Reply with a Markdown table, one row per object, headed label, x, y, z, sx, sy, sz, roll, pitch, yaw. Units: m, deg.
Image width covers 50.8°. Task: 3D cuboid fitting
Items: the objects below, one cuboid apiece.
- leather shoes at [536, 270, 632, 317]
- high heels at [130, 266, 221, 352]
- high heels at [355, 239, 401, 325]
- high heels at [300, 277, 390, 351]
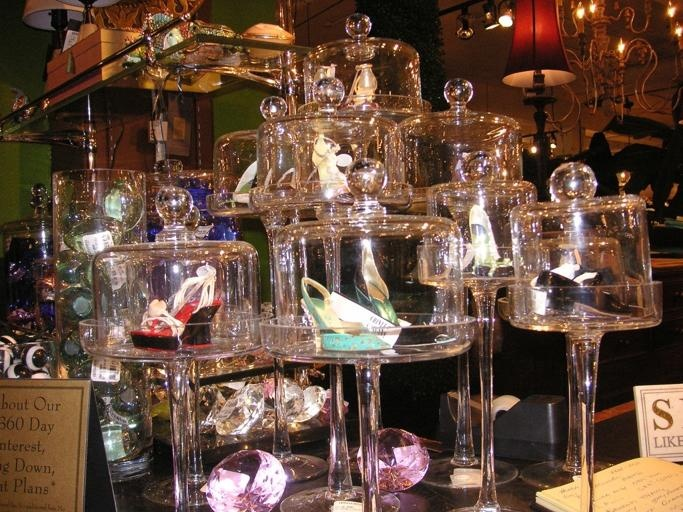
| label | x | y | z | sx | sy | sz | roll | pitch | yaw |
| --- | --- | --- | --- | --- | --- | --- | --- | --- | --- |
| leather shoes | 0.543 | 0.076 | 1.593 | 0.221 | 0.082 | 0.080 | 2 | 7 | 4 |
| high heels | -0.385 | 0.129 | 1.650 | 0.226 | 0.155 | 0.140 | -5 | 5 | -35 |
| high heels | 0.074 | 0.055 | 1.523 | 0.059 | 0.169 | 0.088 | 3 | 5 | 0 |
| high heels | 0.004 | 0.112 | 1.446 | 0.100 | 0.122 | 0.144 | -2 | 7 | -33 |
